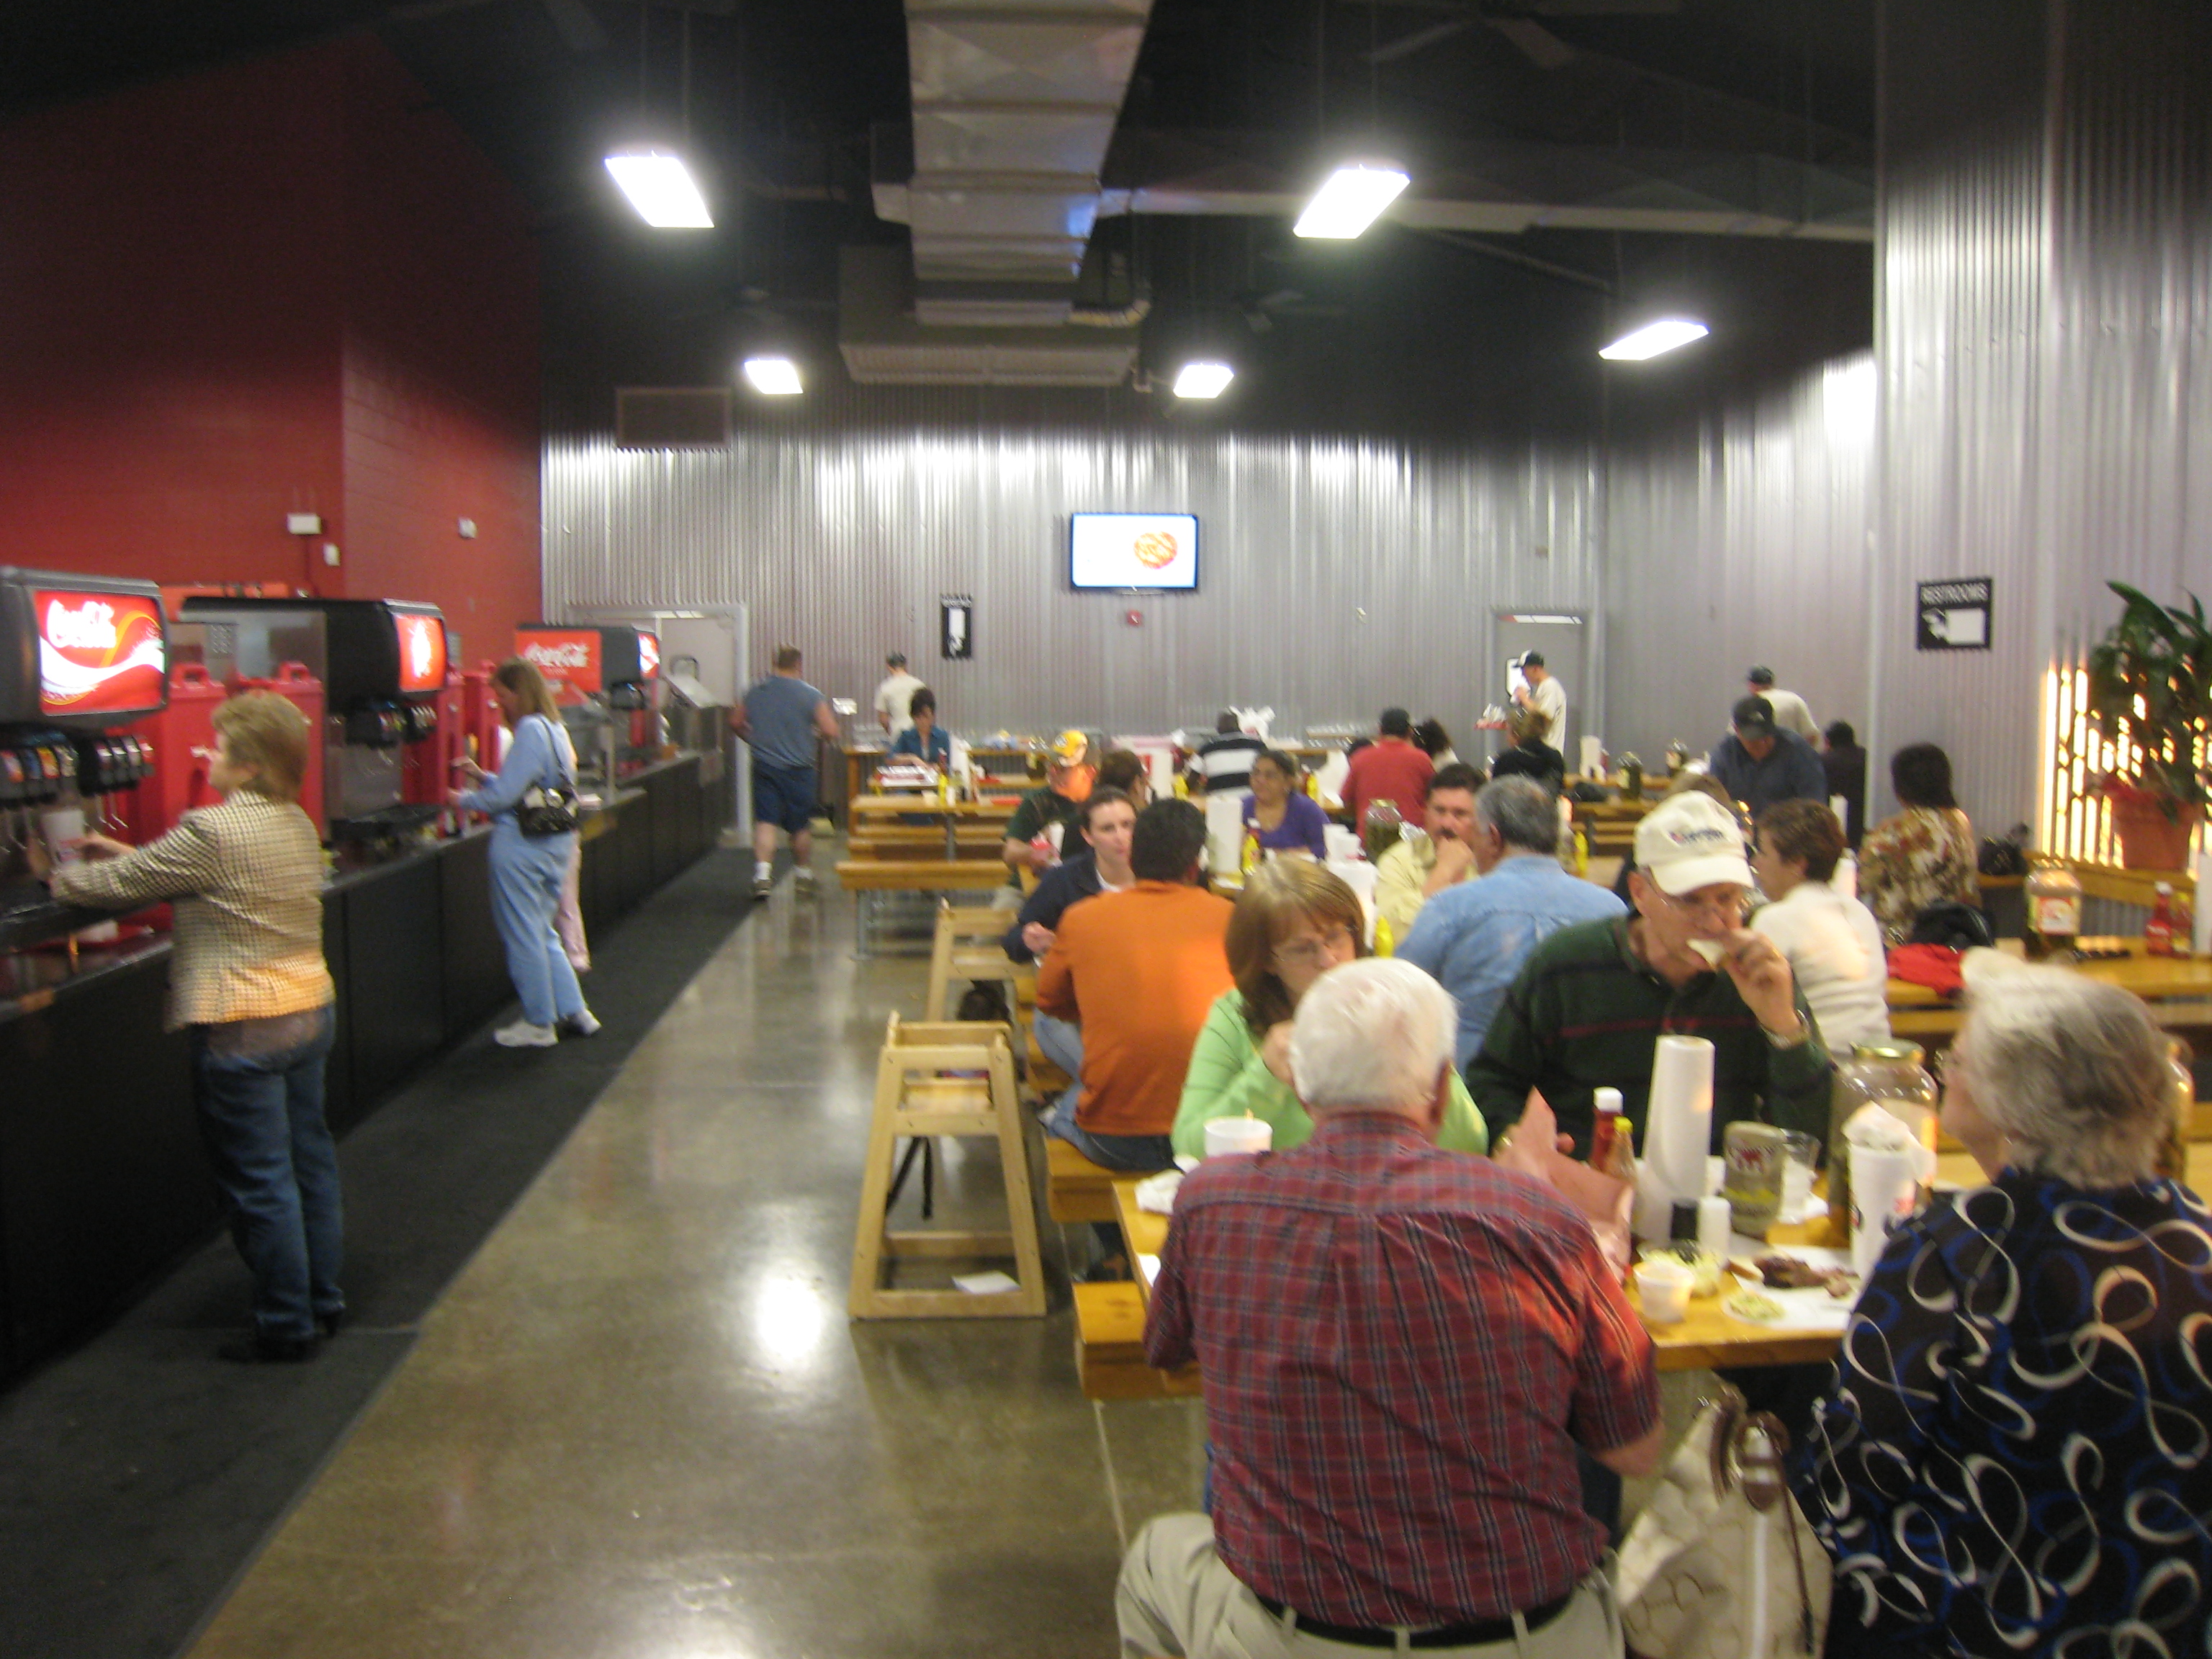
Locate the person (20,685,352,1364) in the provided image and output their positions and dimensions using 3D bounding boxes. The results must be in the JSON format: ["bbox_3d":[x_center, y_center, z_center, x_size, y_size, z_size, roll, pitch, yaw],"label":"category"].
[{"bbox_3d":[-2.443,0.555,4.694,0.560,1.834,0.312,-3,7,-29],"label":"person"}]

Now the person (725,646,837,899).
[{"bbox_3d":[-2.324,-0.455,12.272,0.674,1.712,1.005,-1,7,-14],"label":"person"}]

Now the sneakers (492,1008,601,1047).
[{"bbox_3d":[-2.593,0.947,7.842,0.430,0.249,0.184,2,4,-13],"label":"sneakers"}]

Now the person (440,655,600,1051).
[{"bbox_3d":[-2.693,0.099,7.924,0.608,1.765,0.739,-2,7,-23],"label":"person"}]

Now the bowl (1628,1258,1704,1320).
[{"bbox_3d":[1.006,0.826,3.081,0.085,0.078,0.094,-2,2,-14],"label":"bowl"}]

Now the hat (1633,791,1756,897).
[{"bbox_3d":[1.300,0.010,3.681,0.242,0.237,0.389,3,9,13],"label":"hat"}]
